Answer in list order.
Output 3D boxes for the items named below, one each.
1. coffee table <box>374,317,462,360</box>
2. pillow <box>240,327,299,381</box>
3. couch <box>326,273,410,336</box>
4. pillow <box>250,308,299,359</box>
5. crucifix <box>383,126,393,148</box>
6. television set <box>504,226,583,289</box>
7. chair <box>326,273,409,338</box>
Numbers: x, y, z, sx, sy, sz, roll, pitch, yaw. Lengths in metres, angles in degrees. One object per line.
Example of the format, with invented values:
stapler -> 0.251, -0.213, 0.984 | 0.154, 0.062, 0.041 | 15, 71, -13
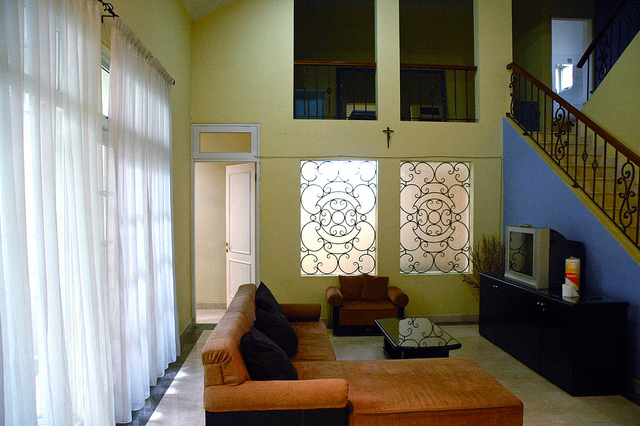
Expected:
coffee table -> 1.183, 1.557, 6.542 | 0.960, 0.455, 1.092 | 3, 4, -3
pillow -> -0.546, 1.489, 5.266 | 0.396, 0.612, 0.718 | -16, 5, -11
couch -> 0.712, 1.443, 8.008 | 1.193, 0.980, 0.707 | 0, -1, -3
pillow -> -0.466, 1.335, 5.807 | 0.441, 0.547, 0.664 | 0, 0, 1
crucifix -> 1.095, -1.220, 8.213 | 0.159, 0.322, 0.058 | -1, 2, -3
television set -> 3.039, 0.581, 6.930 | 0.761, 0.773, 0.761 | 0, 0, -13
chair -> 0.724, 1.466, 8.027 | 1.229, 0.997, 0.829 | 0, -1, 2
